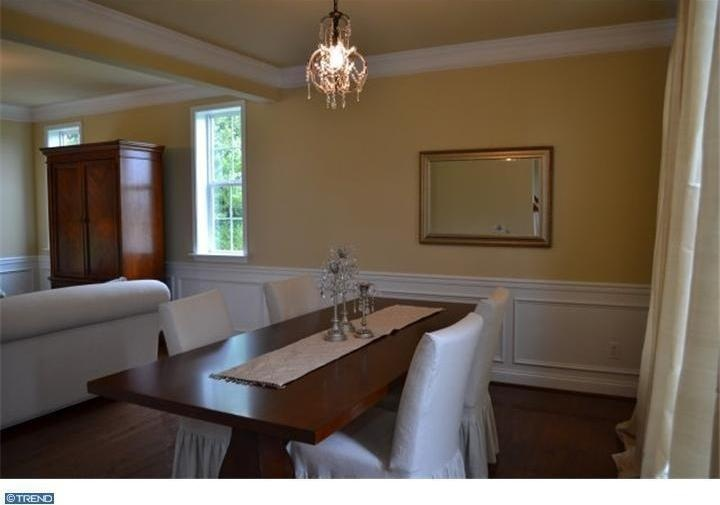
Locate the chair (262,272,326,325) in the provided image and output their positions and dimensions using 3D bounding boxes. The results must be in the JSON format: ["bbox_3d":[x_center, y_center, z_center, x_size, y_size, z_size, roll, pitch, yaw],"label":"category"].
[{"bbox_3d":[-0.566,0.354,4.312,0.392,0.686,0.379,0,3,42],"label":"chair"}]

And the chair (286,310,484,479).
[{"bbox_3d":[0.299,0.752,3.213,0.985,1.253,0.903,3,4,31],"label":"chair"}]

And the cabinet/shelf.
[{"bbox_3d":[-3.313,0.094,6.704,1.268,2.909,0.836,2,4,24],"label":"cabinet/shelf"}]

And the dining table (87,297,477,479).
[{"bbox_3d":[-0.397,0.889,3.198,1.275,0.518,1.996,12,18,40],"label":"dining table"}]

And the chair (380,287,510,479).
[{"bbox_3d":[0.601,0.881,3.637,0.804,1.189,0.856,4,5,17],"label":"chair"}]

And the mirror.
[{"bbox_3d":[1.304,-0.569,5.063,1.025,0.821,0.074,0,3,25],"label":"mirror"}]
